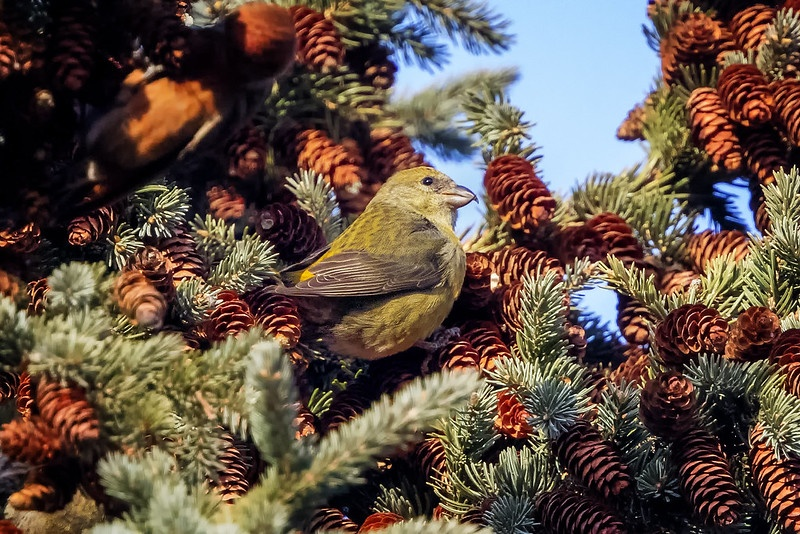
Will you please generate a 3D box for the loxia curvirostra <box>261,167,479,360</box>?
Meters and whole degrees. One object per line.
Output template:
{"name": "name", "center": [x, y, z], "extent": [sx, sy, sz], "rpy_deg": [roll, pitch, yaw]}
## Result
{"name": "loxia curvirostra", "center": [-0.114, -0.009, 4.449], "extent": [0.684, 0.638, 0.427], "rpy_deg": [-1, -9, -30]}
